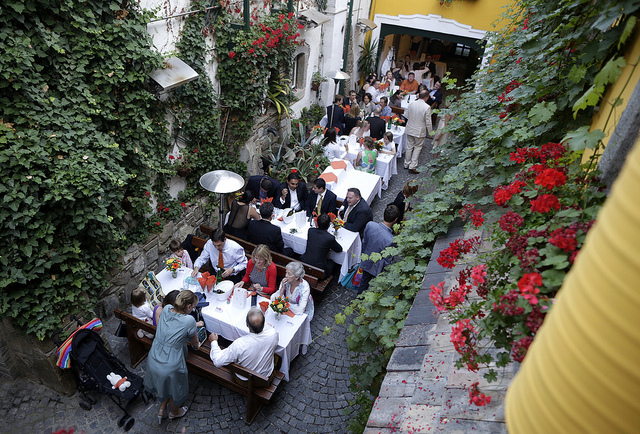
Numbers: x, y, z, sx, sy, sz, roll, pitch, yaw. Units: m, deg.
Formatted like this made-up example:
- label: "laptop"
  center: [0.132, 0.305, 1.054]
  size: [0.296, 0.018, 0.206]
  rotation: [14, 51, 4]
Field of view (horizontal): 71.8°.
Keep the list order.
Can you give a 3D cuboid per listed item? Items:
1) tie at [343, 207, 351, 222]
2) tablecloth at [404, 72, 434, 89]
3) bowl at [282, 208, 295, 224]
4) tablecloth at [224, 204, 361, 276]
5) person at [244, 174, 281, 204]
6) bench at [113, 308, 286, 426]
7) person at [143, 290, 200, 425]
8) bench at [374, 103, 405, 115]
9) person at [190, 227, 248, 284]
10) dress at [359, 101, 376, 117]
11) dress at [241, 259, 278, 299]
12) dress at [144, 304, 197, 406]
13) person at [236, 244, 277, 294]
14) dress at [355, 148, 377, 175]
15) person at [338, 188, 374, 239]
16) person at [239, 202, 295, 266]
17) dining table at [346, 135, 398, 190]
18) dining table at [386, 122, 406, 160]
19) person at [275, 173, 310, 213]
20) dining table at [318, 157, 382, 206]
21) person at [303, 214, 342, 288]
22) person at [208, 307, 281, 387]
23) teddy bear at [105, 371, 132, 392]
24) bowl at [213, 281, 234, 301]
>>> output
- label: "tie"
  center: [0.555, -0.016, 8.747]
  size: [0.067, 0.183, 0.132]
  rotation: [30, 0, 22]
- label: "tablecloth"
  center: [3.536, -4.902, 15.831]
  size: [0.778, 0.368, 0.824]
  rotation: [20, 59, 21]
- label: "bowl"
  center: [-0.645, -0.017, 8.718]
  size: [0.208, 0.175, 0.248]
  rotation: [5, 34, 7]
- label: "tablecloth"
  center: [0.024, 0.621, 9.565]
  size: [2.789, 1.240, 0.662]
  rotation: [27, -6, 2]
- label: "person"
  center: [-1.214, -0.550, 9.132]
  size: [0.501, 0.529, 1.264]
  rotation: [9, -7, -16]
- label: "bench"
  center: [-1.871, 2.100, 6.691]
  size: [2.538, 1.169, 0.875]
  rotation: [20, 28, 10]
- label: "person"
  center: [-2.005, 1.970, 6.044]
  size: [0.486, 1.925, 0.746]
  rotation: [24, 33, 35]
- label: "bench"
  center: [2.348, -3.317, 13.817]
  size: [0.356, 0.422, 0.551]
  rotation: [12, -12, 14]
- label: "person"
  center: [-1.725, 0.753, 7.487]
  size: [0.824, 1.186, 0.649]
  rotation: [5, 43, -4]
- label: "dress"
  center: [1.513, -3.473, 14.016]
  size: [0.518, 0.382, 0.650]
  rotation: [6, 28, 4]
- label: "dress"
  center: [-0.976, 1.013, 7.167]
  size: [0.487, 0.633, 0.425]
  rotation: [9, 21, 19]
- label: "dress"
  center: [-2.050, 1.924, 6.029]
  size: [0.550, 1.409, 0.588]
  rotation: [16, 29, 22]
- label: "person"
  center: [-1.058, 0.911, 7.144]
  size: [0.672, 0.982, 0.525]
  rotation: [6, 36, -6]
- label: "dress"
  center: [1.143, -1.332, 10.853]
  size: [0.568, 0.887, 0.531]
  rotation: [4, 41, 5]
- label: "person"
  center: [0.671, -0.029, 8.618]
  size: [0.507, 1.016, 0.469]
  rotation: [-2, 44, -6]
- label: "person"
  center: [-0.956, 0.429, 8.418]
  size: [1.021, 1.460, 0.770]
  rotation: [8, 26, 10]
- label: "dining table"
  center: [1.237, -1.540, 11.555]
  size: [1.590, 0.476, 1.003]
  rotation: [35, 66, 22]
- label: "dining table"
  center: [2.251, -2.175, 12.584]
  size: [0.818, 0.467, 0.884]
  rotation: [18, 58, 18]
- label: "person"
  center: [-0.585, -0.454, 9.157]
  size: [0.567, 1.082, 0.534]
  rotation: [-7, 43, -2]
- label: "dining table"
  center: [0.692, -0.840, 10.105]
  size: [1.093, 0.641, 1.155]
  rotation: [23, 54, 14]
- label: "person"
  center: [0.023, 0.699, 8.203]
  size: [0.711, 1.610, 0.798]
  rotation: [5, 34, -2]
- label: "person"
  center: [-1.010, 1.768, 6.064]
  size: [0.944, 1.308, 0.454]
  rotation: [-3, 27, -13]
- label: "teddy bear"
  center: [-2.812, 2.299, 6.169]
  size: [0.331, 0.216, 0.221]
  rotation: [9, 28, 9]
- label: "bowl"
  center: [-1.506, 1.151, 6.892]
  size: [0.234, 0.115, 0.263]
  rotation: [33, 48, 29]
